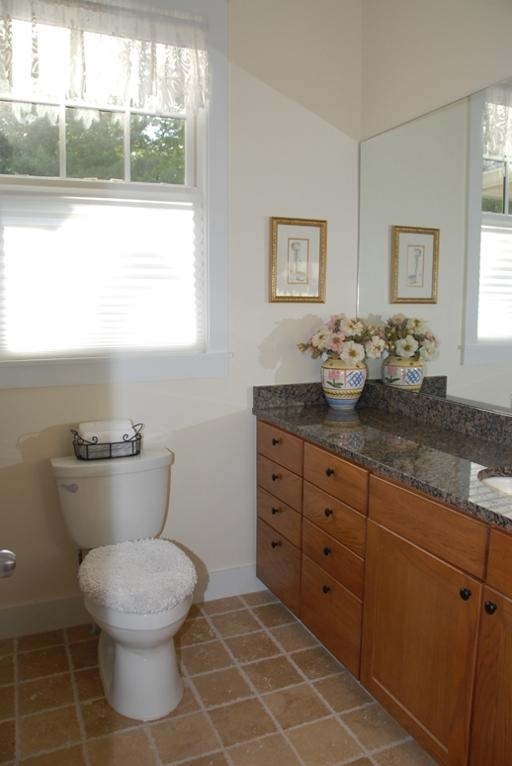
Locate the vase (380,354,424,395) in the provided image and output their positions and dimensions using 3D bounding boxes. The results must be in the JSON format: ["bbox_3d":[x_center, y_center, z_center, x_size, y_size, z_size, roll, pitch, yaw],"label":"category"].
[{"bbox_3d":[0.587,-0.034,2.272,0.116,0.152,0.115,-5,10,-37],"label":"vase"}]

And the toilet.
[{"bbox_3d":[-0.412,0.612,1.800,0.424,0.696,0.615,-2,5,-21],"label":"toilet"}]

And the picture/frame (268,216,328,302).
[{"bbox_3d":[0.179,-0.508,2.369,0.242,0.348,0.017,0,2,-11],"label":"picture/frame"}]

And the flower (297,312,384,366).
[{"bbox_3d":[0.348,-0.188,2.375,0.271,0.220,0.338,14,1,18],"label":"flower"}]

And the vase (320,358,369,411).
[{"bbox_3d":[0.362,-0.017,2.347,0.177,0.238,0.188,7,11,38],"label":"vase"}]
